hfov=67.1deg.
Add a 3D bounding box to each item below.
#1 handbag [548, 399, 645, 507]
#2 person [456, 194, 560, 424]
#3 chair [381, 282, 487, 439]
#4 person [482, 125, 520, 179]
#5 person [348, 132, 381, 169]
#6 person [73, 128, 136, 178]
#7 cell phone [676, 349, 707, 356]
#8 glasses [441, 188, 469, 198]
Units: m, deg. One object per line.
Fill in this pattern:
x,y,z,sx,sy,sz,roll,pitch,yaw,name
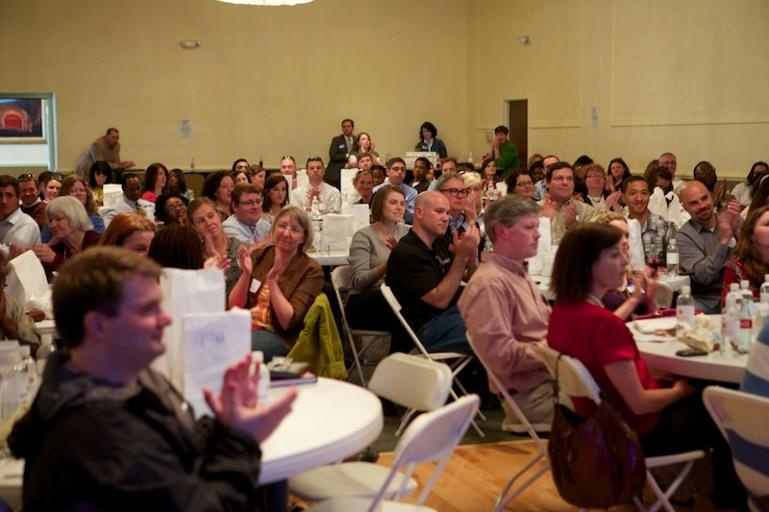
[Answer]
0.954,0.872,2.599,0.415,0.464,0.255,-22,-6,34,handbag
0.905,0.311,3.646,0.710,1.340,0.810,-2,14,23,person
0.401,0.764,4.756,1.022,1.490,0.877,-1,-1,0,chair
2.834,-2.059,13.869,0.659,2.005,0.693,-10,21,-8,person
-0.471,-2.223,12.745,0.666,1.040,0.596,2,-5,-17,person
-6.242,-2.131,13.007,1.211,1.458,0.838,24,21,24,person
1.525,0.481,2.881,0.094,0.020,0.050,0,2,-18,cell phone
0.697,-0.637,5.856,0.223,0.069,0.221,3,-5,-33,glasses
